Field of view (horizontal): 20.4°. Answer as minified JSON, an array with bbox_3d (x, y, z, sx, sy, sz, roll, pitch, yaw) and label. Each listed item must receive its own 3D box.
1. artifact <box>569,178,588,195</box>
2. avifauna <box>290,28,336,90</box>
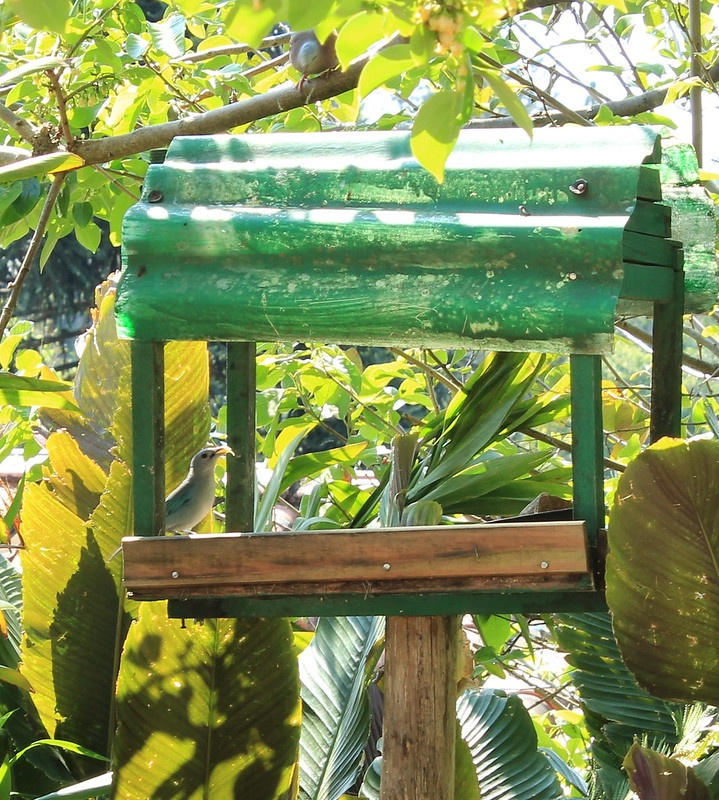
[{"bbox_3d":[0.414,-0.400,3.780,0.027,0.033,0.013,37,9,20],"label":"artifact"},{"bbox_3d":[-0.101,-0.723,4.225,0.104,0.100,0.079,1,10,8],"label":"avifauna"}]
